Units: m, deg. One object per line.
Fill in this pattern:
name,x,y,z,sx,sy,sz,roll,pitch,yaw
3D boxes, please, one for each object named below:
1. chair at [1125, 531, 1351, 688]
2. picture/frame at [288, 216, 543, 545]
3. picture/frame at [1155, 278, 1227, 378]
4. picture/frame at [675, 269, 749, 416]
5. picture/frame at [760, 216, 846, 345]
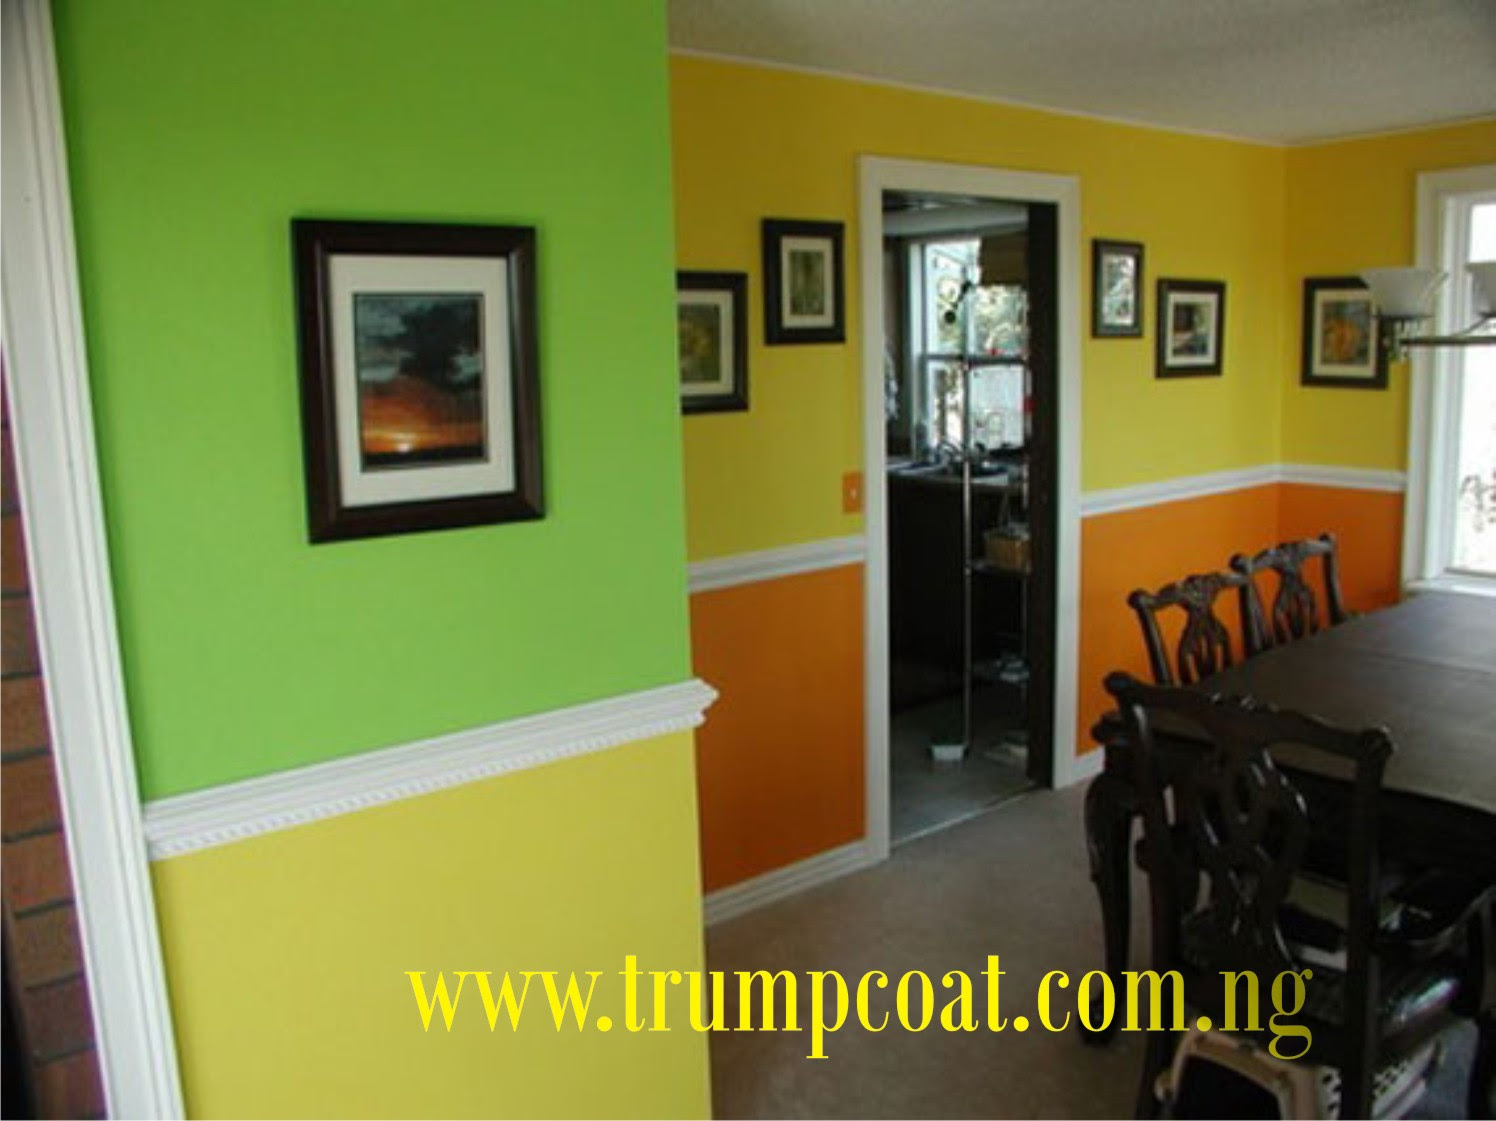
chair,1.735,0.174,4.189,0.484,0.824,0.512,-10,7,-26
picture/frame,-0.661,-0.366,2.265,0.544,0.740,0.055,-9,14,-32
picture/frame,1.919,-1.039,5.111,0.027,0.434,0.405,5,12,44
picture/frame,-0.164,-0.672,3.639,0.385,0.412,0.028,-14,21,-41
picture/frame,0.170,-0.941,3.842,0.383,0.468,0.030,-8,12,-39
